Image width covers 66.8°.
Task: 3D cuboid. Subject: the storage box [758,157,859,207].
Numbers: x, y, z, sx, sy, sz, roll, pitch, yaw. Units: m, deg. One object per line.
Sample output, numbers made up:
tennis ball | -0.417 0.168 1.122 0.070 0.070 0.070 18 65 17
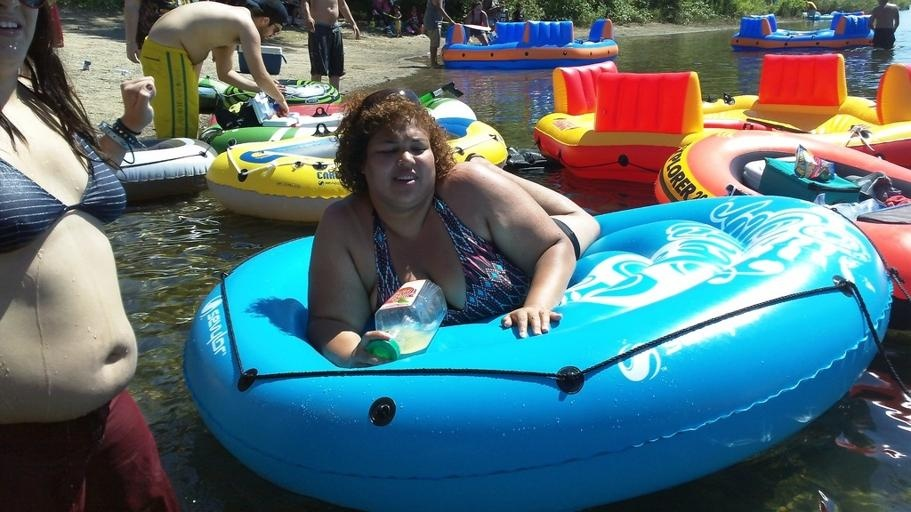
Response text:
storage box | 2.628 -0.613 5.213 0.403 0.192 0.537 -2 16 -20

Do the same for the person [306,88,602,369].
person | -0.113 -0.109 3.665 1.518 0.885 1.489 -12 15 -17

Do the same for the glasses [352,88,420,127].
glasses | -0.365 -0.854 3.717 0.345 0.100 0.231 -4 19 -10

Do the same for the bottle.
bottle | -0.229 0.316 3.500 0.505 0.341 0.200 -11 22 -27
